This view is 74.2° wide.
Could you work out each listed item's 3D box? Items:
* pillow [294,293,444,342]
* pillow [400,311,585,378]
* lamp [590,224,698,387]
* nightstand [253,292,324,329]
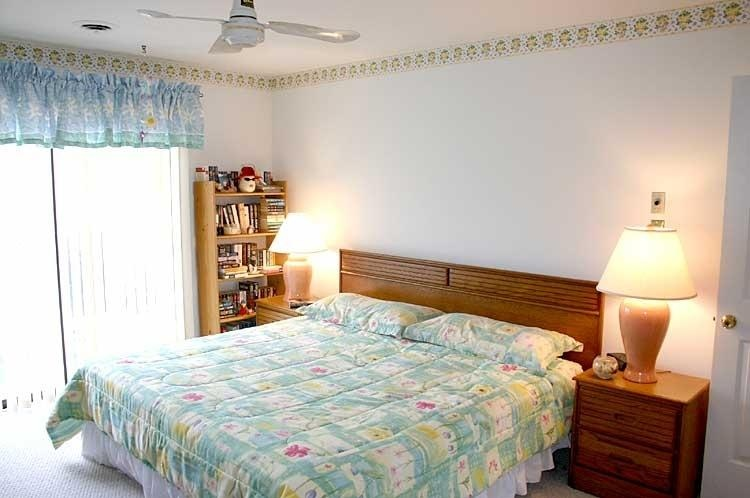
[{"bbox_3d":[-0.102,0.610,4.780,0.823,0.142,0.535,7,11,40],"label":"pillow"},{"bbox_3d":[0.917,0.740,4.119,0.941,0.159,0.547,11,18,38],"label":"pillow"},{"bbox_3d":[1.987,0.395,3.656,0.596,1.078,0.400,-4,14,-14],"label":"lamp"},{"bbox_3d":[-1.074,0.687,5.622,0.355,0.469,0.503,-4,7,-44],"label":"nightstand"}]
